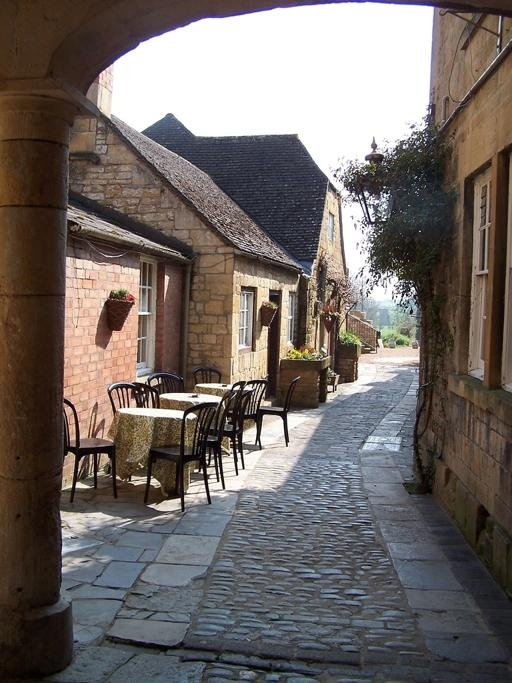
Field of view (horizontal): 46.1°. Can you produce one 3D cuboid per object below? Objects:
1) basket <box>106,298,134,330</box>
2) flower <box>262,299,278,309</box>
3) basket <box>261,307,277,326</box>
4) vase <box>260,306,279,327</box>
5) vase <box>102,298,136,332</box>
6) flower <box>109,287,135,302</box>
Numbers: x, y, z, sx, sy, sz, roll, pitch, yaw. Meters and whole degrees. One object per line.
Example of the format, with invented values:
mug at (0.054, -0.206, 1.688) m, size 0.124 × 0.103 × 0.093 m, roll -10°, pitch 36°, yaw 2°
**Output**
basket at (-1.543, -0.287, 6.693) m, size 0.325 × 0.339 × 0.307 m, roll 10°, pitch 4°, yaw 35°
flower at (0.243, -0.692, 11.325) m, size 0.187 × 0.088 × 0.186 m, roll 2°, pitch 2°, yaw -45°
basket at (0.237, -0.488, 11.567) m, size 0.300 × 0.408 × 0.358 m, roll 1°, pitch 6°, yaw -5°
vase at (0.255, -0.478, 11.588) m, size 0.328 × 0.447 × 0.386 m, roll 0°, pitch 7°, yaw -6°
vase at (-1.541, -0.280, 6.722) m, size 0.332 × 0.351 × 0.312 m, roll 9°, pitch 2°, yaw 11°
flower at (-1.492, -0.516, 6.739) m, size 0.170 × 0.098 × 0.177 m, roll 4°, pitch 2°, yaw 14°
